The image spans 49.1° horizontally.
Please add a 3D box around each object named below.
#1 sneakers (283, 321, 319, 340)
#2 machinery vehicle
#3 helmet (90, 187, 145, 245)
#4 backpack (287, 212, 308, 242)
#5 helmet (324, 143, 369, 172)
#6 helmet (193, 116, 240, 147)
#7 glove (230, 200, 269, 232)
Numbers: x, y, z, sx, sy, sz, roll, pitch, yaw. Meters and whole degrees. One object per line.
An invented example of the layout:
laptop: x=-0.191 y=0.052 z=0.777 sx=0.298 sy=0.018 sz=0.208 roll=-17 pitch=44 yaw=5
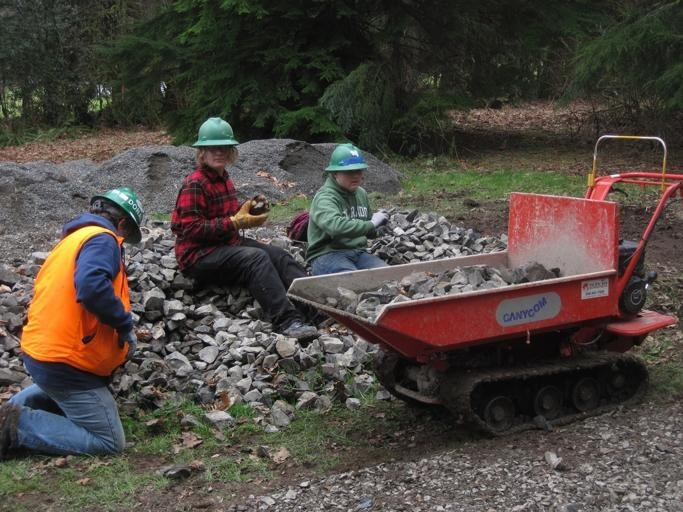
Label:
sneakers: x=-0.430 y=0.753 z=7.846 sx=0.362 sy=0.165 sz=0.158 roll=-1 pitch=2 yaw=11
machinery vehicle: x=1.457 y=0.351 z=7.142 sx=3.876 sy=2.087 sz=1.559 roll=-7 pitch=17 yaw=-10
helmet: x=-1.977 y=-0.418 z=6.966 sx=0.420 sy=0.536 sz=0.291 roll=13 pitch=60 yaw=21
backpack: x=-0.498 y=-0.421 z=9.548 sx=0.280 sy=0.380 sz=0.198 roll=7 pitch=-25 yaw=31
helmet: x=0.057 y=-1.068 z=8.099 sx=0.363 sy=0.190 sz=0.329 roll=-3 pitch=10 yaw=27
helmet: x=-1.389 y=-1.343 z=8.100 sx=0.375 sy=0.213 sz=0.407 roll=-10 pitch=18 yaw=-38
glove: x=-0.983 y=-0.449 z=8.145 sx=0.374 sy=0.278 sz=0.195 roll=-24 pitch=-8 yaw=-10
